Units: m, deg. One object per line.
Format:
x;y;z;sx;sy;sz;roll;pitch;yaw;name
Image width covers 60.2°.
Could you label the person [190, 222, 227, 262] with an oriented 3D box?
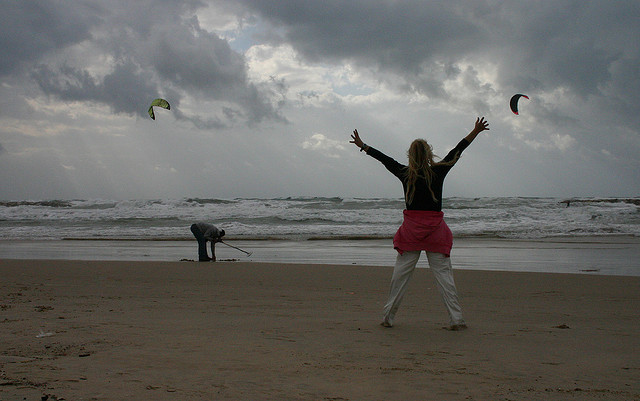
-3.350;1.244;16.302;0.864;1.131;1.458;1;2;-13;person
